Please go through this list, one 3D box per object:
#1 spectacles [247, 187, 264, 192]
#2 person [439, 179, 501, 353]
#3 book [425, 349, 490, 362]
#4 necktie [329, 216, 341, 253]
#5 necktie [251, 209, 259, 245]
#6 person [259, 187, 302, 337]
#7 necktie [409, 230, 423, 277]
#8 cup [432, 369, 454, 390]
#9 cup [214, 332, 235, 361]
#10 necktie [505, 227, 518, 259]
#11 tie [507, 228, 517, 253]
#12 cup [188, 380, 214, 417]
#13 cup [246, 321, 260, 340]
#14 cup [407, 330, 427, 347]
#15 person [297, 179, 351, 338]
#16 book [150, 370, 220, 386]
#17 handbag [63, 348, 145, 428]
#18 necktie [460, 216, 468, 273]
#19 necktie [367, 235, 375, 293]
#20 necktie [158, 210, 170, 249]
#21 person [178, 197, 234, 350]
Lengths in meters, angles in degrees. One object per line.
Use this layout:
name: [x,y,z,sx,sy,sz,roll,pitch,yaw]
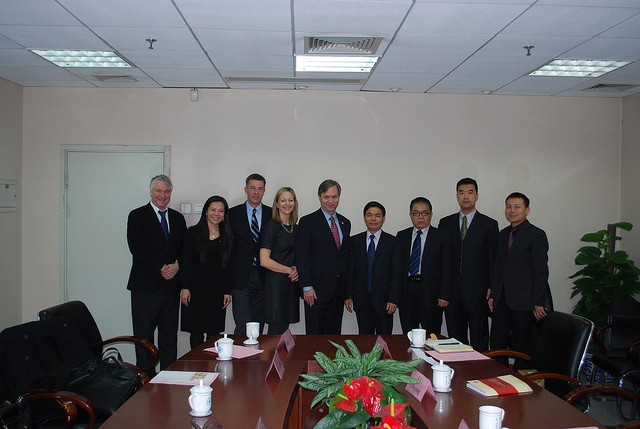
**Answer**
spectacles: [-0.763,-0.296,5.067,0.182,0.046,0.067,1,-1,-15]
person: [1.772,0.824,5.246,0.791,2.545,0.739,-4,17,4]
book: [1.100,1.130,3.375,0.243,0.011,0.224,1,-2,-10]
necktie: [0.181,0.212,4.866,0.077,0.464,0.052,-5,-15,-8]
necktie: [-0.780,0.138,5.093,0.083,0.371,0.117,1,0,-12]
person: [-0.464,0.523,4.849,0.462,1.538,0.223,1,0,-9]
necktie: [1.153,0.451,5.051,0.160,0.542,0.090,1,0,-4]
cup: [0.832,1.146,2.951,0.152,0.135,0.096,2,-4,-19]
cup: [-0.724,1.030,3.305,0.178,0.203,0.166,1,-4,0]
necktie: [2.189,0.312,4.864,0.065,0.276,0.217,16,-4,24]
tie: [2.200,0.276,4.867,0.048,0.204,0.211,5,-18,14]
cup: [-0.751,1.161,2.694,0.161,0.188,0.112,1,0,-33]
cup: [-0.576,1.007,3.700,0.124,0.121,0.151,0,-8,3]
cup: [0.828,1.045,3.585,0.152,0.108,0.102,-1,-2,26]
person: [0.044,0.498,4.864,0.613,1.696,0.225,1,0,-4]
book: [-0.969,1.169,3.034,0.455,0.071,0.183,0,-1,9]
handbag: [-1.794,1.486,3.606,0.528,0.263,0.649,20,33,6]
necktie: [1.752,0.358,5.138,0.082,0.706,0.147,1,0,22]
necktie: [0.586,0.553,4.864,0.079,0.627,0.098,1,0,7]
necktie: [-1.860,0.164,5.051,0.135,0.394,0.054,-7,-14,-23]
person: [-1.344,0.702,5.001,0.630,1.549,0.268,1,0,-5]
